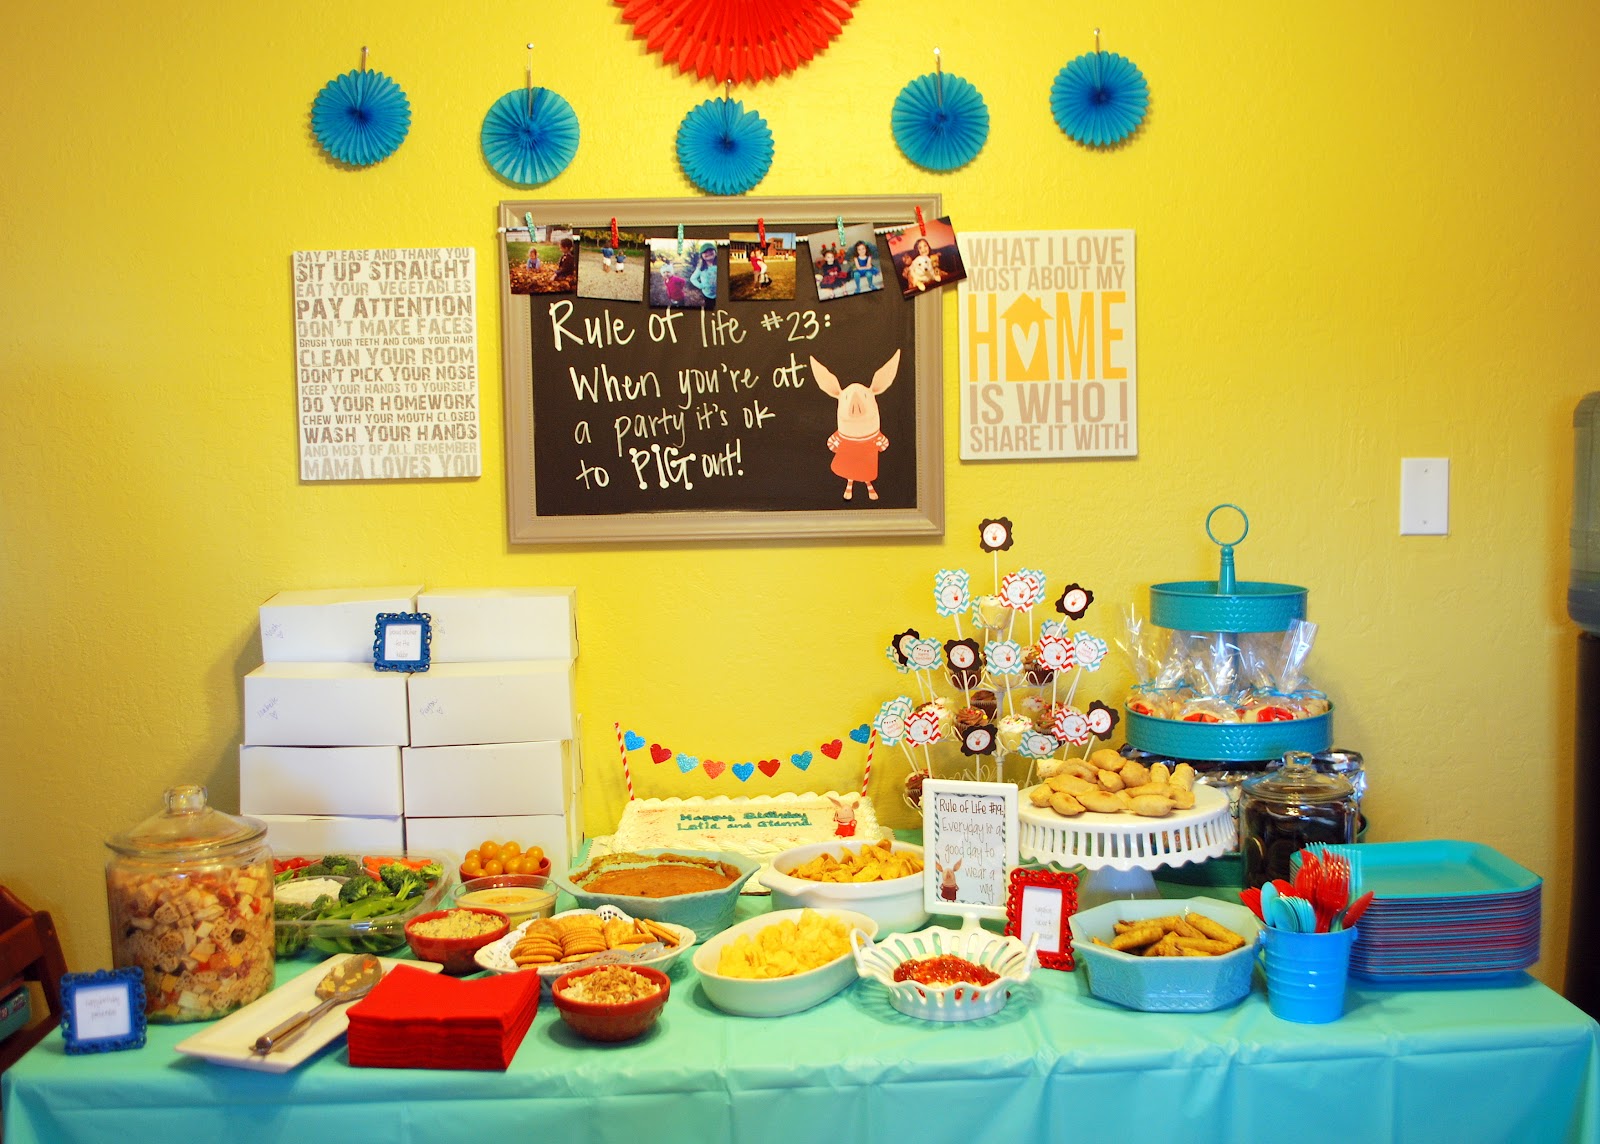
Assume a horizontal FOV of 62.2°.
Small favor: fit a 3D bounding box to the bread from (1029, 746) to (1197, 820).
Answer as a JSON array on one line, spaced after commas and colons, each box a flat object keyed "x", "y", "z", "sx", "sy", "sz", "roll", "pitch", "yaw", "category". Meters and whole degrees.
[{"x": 0.685, "y": 0.458, "z": 2.901, "sx": 0.375, "sy": 0.112, "sz": 0.232, "roll": -1, "pitch": 2, "yaw": 10, "category": "bread"}]

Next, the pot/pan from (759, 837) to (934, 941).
[{"x": 0.112, "y": 0.661, "z": 2.893, "sx": 0.214, "sy": 0.086, "sz": 0.245, "roll": -2, "pitch": -2, "yaw": 26, "category": "pot/pan"}]

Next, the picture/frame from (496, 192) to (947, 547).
[{"x": -0.234, "y": -0.553, "z": 3.371, "sx": 0.906, "sy": 0.657, "sz": 0.039, "roll": -1, "pitch": 3, "yaw": -1, "category": "picture/frame"}]

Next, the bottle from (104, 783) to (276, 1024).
[{"x": -1.254, "y": 0.663, "z": 2.738, "sx": 0.312, "sy": 0.431, "sz": 0.316, "roll": -3, "pitch": 2, "yaw": 0, "category": "bottle"}]

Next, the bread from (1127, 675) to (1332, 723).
[{"x": 1.030, "y": 0.311, "z": 3.166, "sx": 0.457, "sy": 0.076, "sz": 0.174, "roll": -1, "pitch": 2, "yaw": -2, "category": "bread"}]

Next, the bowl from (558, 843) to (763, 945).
[{"x": -0.258, "y": 0.709, "z": 2.976, "sx": 0.337, "sy": 0.105, "sz": 0.348, "roll": -2, "pitch": 7, "yaw": 0, "category": "bowl"}]

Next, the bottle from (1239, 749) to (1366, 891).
[{"x": 1.140, "y": 0.528, "z": 2.998, "sx": 0.291, "sy": 0.322, "sz": 0.292, "roll": 0, "pitch": 1, "yaw": 26, "category": "bottle"}]

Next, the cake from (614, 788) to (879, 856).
[{"x": -0.145, "y": 0.613, "z": 3.234, "sx": 0.408, "sy": 0.111, "sz": 0.246, "roll": -2, "pitch": 12, "yaw": 1, "category": "cake"}]

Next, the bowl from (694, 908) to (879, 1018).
[{"x": -0.031, "y": 0.786, "z": 2.685, "sx": 0.262, "sy": 0.068, "sz": 0.194, "roll": -1, "pitch": 3, "yaw": 14, "category": "bowl"}]

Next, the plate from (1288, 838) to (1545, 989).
[{"x": 1.307, "y": 0.699, "z": 2.694, "sx": 0.332, "sy": 0.160, "sz": 0.438, "roll": -1, "pitch": -4, "yaw": 5, "category": "plate"}]

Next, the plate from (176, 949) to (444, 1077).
[{"x": -0.985, "y": 0.859, "z": 2.599, "sx": 0.193, "sy": 0.045, "sz": 0.320, "roll": 3, "pitch": 9, "yaw": 24, "category": "plate"}]

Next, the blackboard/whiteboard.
[{"x": -0.232, "y": -0.546, "z": 3.372, "sx": 0.904, "sy": 0.654, "sz": 0.037, "roll": -1, "pitch": 3, "yaw": -1, "category": "blackboard/whiteboard"}]

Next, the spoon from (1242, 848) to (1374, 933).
[{"x": 1.010, "y": 0.633, "z": 2.616, "sx": 0.168, "sy": 0.156, "sz": 0.174, "roll": -2, "pitch": -7, "yaw": 2, "category": "spoon"}]

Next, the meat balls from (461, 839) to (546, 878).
[{"x": -0.686, "y": 0.667, "z": 3.096, "sx": 0.105, "sy": 0.057, "sz": 0.106, "roll": 0, "pitch": -3, "yaw": 0, "category": "meat balls"}]

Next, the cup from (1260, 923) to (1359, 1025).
[{"x": 1.020, "y": 0.786, "z": 2.639, "sx": 0.240, "sy": 0.178, "sz": 0.199, "roll": -3, "pitch": -11, "yaw": 23, "category": "cup"}]
